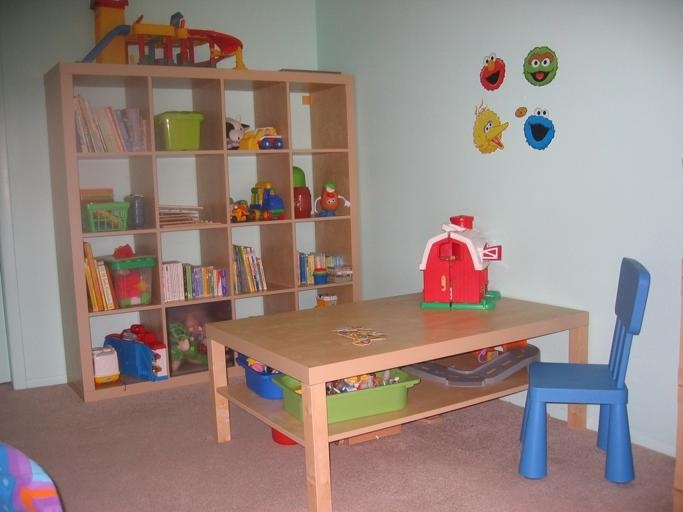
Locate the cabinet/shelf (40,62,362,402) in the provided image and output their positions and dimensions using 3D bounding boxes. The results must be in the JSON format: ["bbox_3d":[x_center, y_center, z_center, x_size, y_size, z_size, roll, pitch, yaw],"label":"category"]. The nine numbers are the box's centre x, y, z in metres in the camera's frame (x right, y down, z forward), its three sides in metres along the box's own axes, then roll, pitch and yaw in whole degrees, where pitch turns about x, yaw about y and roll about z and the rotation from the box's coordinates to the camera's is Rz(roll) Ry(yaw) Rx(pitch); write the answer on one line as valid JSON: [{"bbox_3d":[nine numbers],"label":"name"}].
[{"bbox_3d":[-0.980,-0.155,3.743,2.048,1.964,0.517,-7,13,-30],"label":"cabinet/shelf"}]

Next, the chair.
[{"bbox_3d":[1.083,0.497,2.639,0.494,0.943,0.436,2,13,18],"label":"chair"}]

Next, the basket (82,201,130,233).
[{"bbox_3d":[-1.464,-0.238,3.636,0.230,0.150,0.163,-6,11,-34],"label":"basket"}]

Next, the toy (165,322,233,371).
[{"bbox_3d":[-1.021,0.609,3.867,0.374,0.350,0.086,-6,4,-39],"label":"toy"}]

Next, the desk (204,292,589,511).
[{"bbox_3d":[0.037,0.396,2.779,1.473,0.548,0.923,-12,19,-34],"label":"desk"}]
